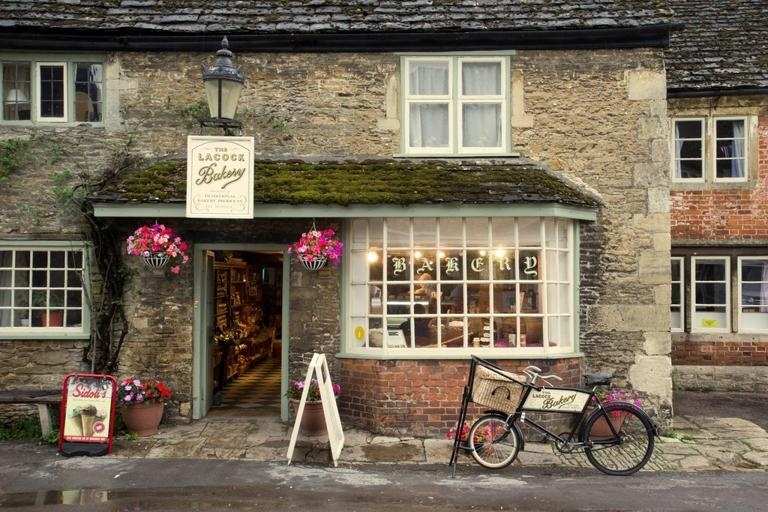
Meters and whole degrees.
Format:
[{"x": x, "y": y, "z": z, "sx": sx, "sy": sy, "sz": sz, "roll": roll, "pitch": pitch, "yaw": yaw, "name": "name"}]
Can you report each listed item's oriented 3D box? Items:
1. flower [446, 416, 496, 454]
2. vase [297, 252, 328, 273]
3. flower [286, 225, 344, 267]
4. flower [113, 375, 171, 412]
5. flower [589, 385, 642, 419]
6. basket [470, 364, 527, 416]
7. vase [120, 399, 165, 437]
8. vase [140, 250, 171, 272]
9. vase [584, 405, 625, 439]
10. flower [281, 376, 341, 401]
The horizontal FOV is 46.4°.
[{"x": 1.480, "y": 3.055, "z": 15.055, "sx": 0.787, "sy": 0.232, "sz": 0.517, "roll": 1, "pitch": -1, "yaw": 8, "name": "flower"}, {"x": -1.285, "y": 0.123, "z": 16.025, "sx": 0.427, "sy": 0.204, "sz": 0.376, "roll": -2, "pitch": -5, "yaw": 9, "name": "vase"}, {"x": -1.223, "y": -0.131, "z": 16.142, "sx": 0.952, "sy": 0.789, "sz": 0.745, "roll": -1, "pitch": 2, "yaw": -5, "name": "flower"}, {"x": -4.274, "y": 2.475, "z": 16.020, "sx": 0.740, "sy": 0.566, "sz": 0.749, "roll": 1, "pitch": 0, "yaw": -10, "name": "flower"}, {"x": 4.259, "y": 2.621, "z": 16.194, "sx": 0.579, "sy": 0.264, "sz": 0.565, "roll": 0, "pitch": -2, "yaw": 44, "name": "flower"}, {"x": 1.937, "y": 2.271, "z": 15.072, "sx": 1.272, "sy": 0.735, "sz": 0.800, "roll": 14, "pitch": -11, "yaw": 11, "name": "basket"}, {"x": -4.243, "y": 2.890, "z": 15.816, "sx": 0.761, "sy": 0.447, "sz": 0.642, "roll": -1, "pitch": -11, "yaw": 1, "name": "vase"}, {"x": -4.097, "y": 0.083, "z": 16.110, "sx": 0.462, "sy": 0.251, "sz": 0.404, "roll": 0, "pitch": -2, "yaw": -1, "name": "vase"}, {"x": 3.801, "y": 2.874, "z": 15.377, "sx": 0.704, "sy": 0.386, "sz": 0.615, "roll": -1, "pitch": -4, "yaw": -2, "name": "vase"}, {"x": -1.331, "y": 2.407, "z": 16.089, "sx": 0.615, "sy": 0.233, "sz": 0.580, "roll": 0, "pitch": 0, "yaw": 40, "name": "flower"}]
